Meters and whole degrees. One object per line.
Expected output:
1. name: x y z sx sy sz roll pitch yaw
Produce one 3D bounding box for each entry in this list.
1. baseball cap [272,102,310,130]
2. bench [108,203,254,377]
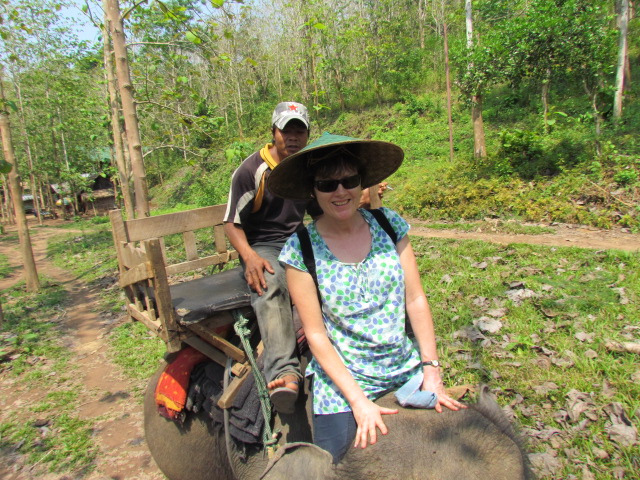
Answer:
1. baseball cap: -0.320 -1.343 4.958 0.407 0.319 0.283 -10 12 -7
2. bench: -1.484 0.412 4.590 1.914 1.047 1.341 4 12 21
